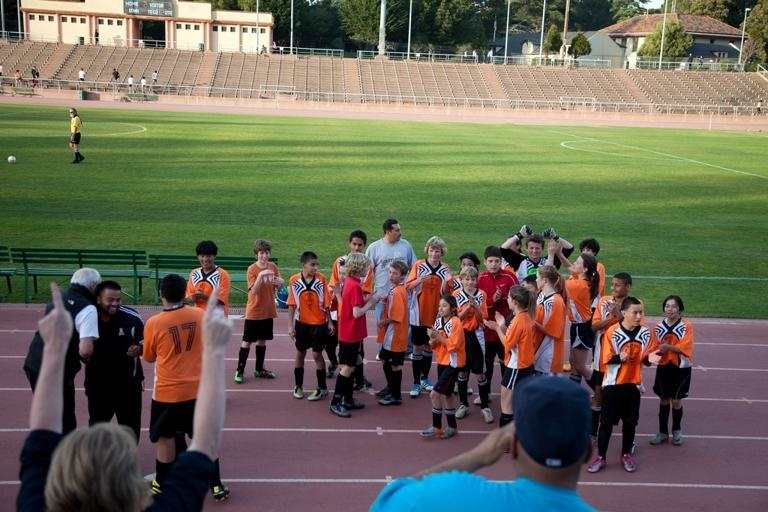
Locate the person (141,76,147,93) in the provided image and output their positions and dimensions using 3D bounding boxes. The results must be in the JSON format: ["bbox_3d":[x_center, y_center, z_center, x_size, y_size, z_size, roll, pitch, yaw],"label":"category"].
[{"bbox_3d":[-18.636,-13.431,62.150,0.454,1.305,1.748,-1,6,-17],"label":"person"}]

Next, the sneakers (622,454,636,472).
[{"bbox_3d":[3.806,3.219,12.450,0.126,0.214,0.343,-4,23,-6],"label":"sneakers"}]

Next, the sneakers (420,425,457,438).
[{"bbox_3d":[0.918,2.861,13.001,0.575,0.174,0.202,2,-1,-15],"label":"sneakers"}]

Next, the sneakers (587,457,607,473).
[{"bbox_3d":[3.320,3.251,12.424,0.438,0.173,0.142,-7,19,-35],"label":"sneakers"}]

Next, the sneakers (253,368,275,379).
[{"bbox_3d":[-2.127,2.129,14.416,0.351,0.142,0.165,-1,7,-2],"label":"sneakers"}]

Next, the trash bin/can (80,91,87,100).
[{"bbox_3d":[-21.821,-11.771,58.236,0.381,0.669,0.748,-2,6,-19],"label":"trash bin/can"}]

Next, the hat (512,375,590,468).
[{"bbox_3d":[1.801,1.766,8.509,0.817,0.935,0.247,1,6,7],"label":"hat"}]

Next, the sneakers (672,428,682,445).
[{"bbox_3d":[4.775,2.948,12.934,0.128,0.094,0.244,-12,10,15],"label":"sneakers"}]

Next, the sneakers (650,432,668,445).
[{"bbox_3d":[4.498,2.976,12.984,0.362,0.146,0.129,-12,19,5],"label":"sneakers"}]

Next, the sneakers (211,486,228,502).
[{"bbox_3d":[-2.387,3.465,11.691,0.147,0.139,0.309,-1,17,-30],"label":"sneakers"}]
